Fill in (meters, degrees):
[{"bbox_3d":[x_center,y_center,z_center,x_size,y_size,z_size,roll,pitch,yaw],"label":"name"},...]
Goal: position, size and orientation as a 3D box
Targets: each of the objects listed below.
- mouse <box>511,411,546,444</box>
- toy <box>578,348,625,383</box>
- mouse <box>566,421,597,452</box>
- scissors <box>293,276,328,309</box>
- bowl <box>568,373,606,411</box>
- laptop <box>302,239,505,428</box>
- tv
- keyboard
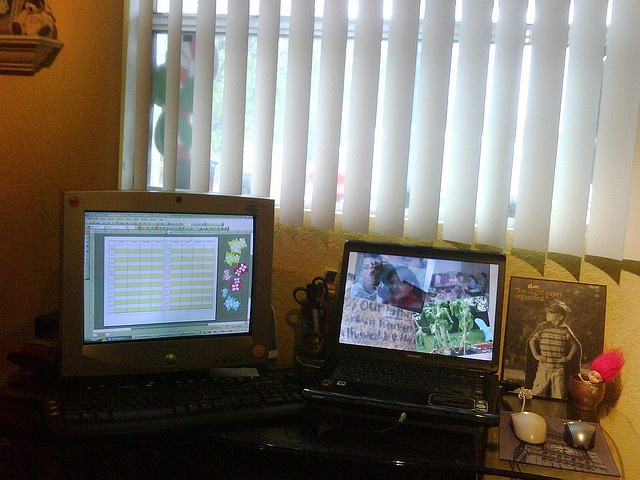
[{"bbox_3d":[0.581,0.517,1.619,0.084,0.046,0.136,1,23,13],"label":"mouse"},{"bbox_3d":[0.877,0.394,1.780,0.082,0.049,0.136,14,23,33],"label":"toy"},{"bbox_3d":[0.722,0.538,1.593,0.086,0.054,0.098,5,8,18],"label":"mouse"},{"bbox_3d":[-0.021,0.180,2.005,0.134,0.139,0.083,-7,3,4],"label":"scissors"},{"bbox_3d":[0.855,0.479,1.794,0.101,0.088,0.112,-7,1,16],"label":"bowl"},{"bbox_3d":[0.267,0.253,1.706,0.522,0.436,0.419,5,8,15],"label":"laptop"},{"bbox_3d":[-0.460,0.121,1.974,0.813,0.747,0.475,0,3,-20],"label":"tv"},{"bbox_3d":[-0.387,0.455,1.573,0.681,0.065,0.190,1,8,-15],"label":"keyboard"}]
